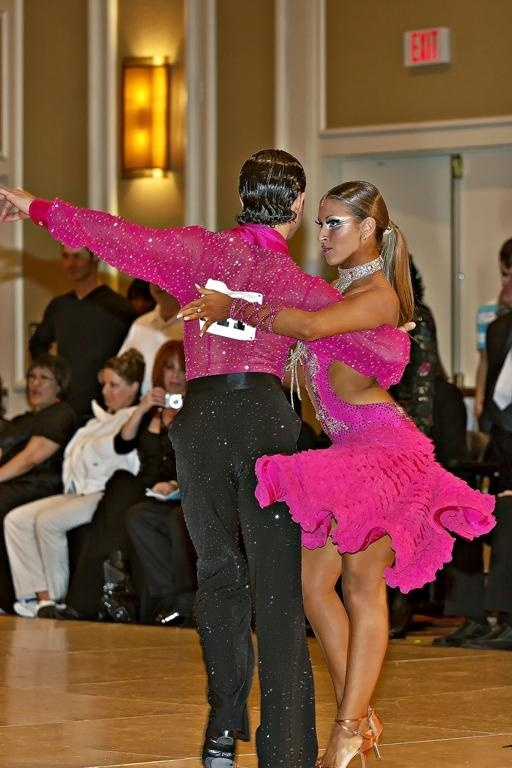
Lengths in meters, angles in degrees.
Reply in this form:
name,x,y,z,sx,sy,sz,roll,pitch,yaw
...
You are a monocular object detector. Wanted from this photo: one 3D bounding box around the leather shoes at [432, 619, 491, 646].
name,x,y,z,sx,sy,sz,roll,pitch,yaw
leather shoes,0.941,1.103,3.365,0.304,0.105,0.105,1,-2,-32
